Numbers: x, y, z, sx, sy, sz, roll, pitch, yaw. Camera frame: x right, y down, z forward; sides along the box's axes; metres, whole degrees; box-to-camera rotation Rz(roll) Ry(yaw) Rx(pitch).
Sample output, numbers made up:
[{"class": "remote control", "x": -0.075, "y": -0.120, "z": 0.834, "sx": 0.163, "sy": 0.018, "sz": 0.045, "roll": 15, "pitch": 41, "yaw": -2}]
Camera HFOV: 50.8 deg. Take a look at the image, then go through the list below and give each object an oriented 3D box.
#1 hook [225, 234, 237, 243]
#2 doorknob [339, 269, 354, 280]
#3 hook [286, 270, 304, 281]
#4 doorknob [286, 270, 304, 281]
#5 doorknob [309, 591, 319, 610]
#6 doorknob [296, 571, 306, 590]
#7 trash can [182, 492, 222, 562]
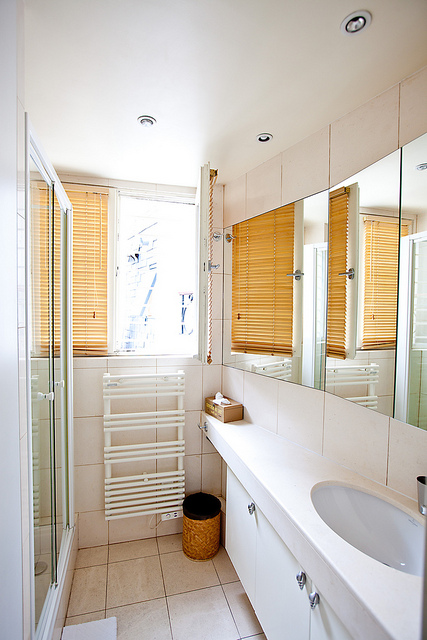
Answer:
[{"class": "hook", "x": 0.096, "y": -0.475, "z": 2.624, "sx": 0.041, "sy": 0.046, "sz": 0.196, "roll": -3, "pitch": 6, "yaw": -4}, {"class": "doorknob", "x": 0.487, "y": -0.167, "z": 1.638, "sx": 0.039, "sy": 0.041, "sz": 0.033, "roll": -4, "pitch": 9, "yaw": -22}, {"class": "hook", "x": 0.363, "y": -0.197, "z": 1.982, "sx": 0.020, "sy": 0.056, "sz": 0.076, "roll": 9, "pitch": 13, "yaw": -14}, {"class": "doorknob", "x": 0.361, "y": -0.195, "z": 1.982, "sx": 0.018, "sy": 0.046, "sz": 0.113, "roll": -3, "pitch": 6, "yaw": -16}, {"class": "doorknob", "x": 0.280, "y": 0.788, "z": 1.263, "sx": 0.016, "sy": 0.061, "sz": 0.034, "roll": -5, "pitch": 6, "yaw": -27}, {"class": "doorknob", "x": 0.261, "y": 0.780, "z": 1.344, "sx": 0.021, "sy": 0.062, "sz": 0.027, "roll": -5, "pitch": 6, "yaw": -32}, {"class": "trash can", "x": -0.058, "y": 1.095, "z": 2.511, "sx": 0.206, "sy": 0.304, "sz": 0.232, "roll": 5, "pitch": 11, "yaw": 24}]
